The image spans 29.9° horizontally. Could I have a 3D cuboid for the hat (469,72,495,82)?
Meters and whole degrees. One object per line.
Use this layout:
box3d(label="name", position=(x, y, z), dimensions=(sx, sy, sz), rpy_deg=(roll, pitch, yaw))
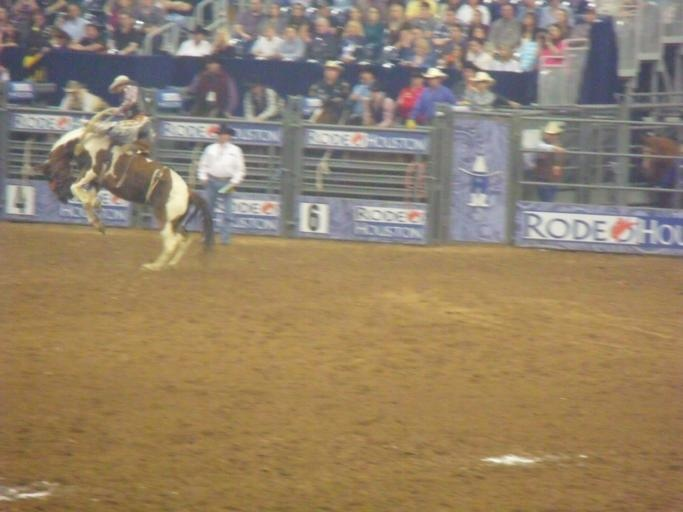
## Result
box3d(label="hat", position=(2.457, -3.108, 22.048), dimensions=(0.423, 0.185, 0.106), rpy_deg=(-1, 5, -31))

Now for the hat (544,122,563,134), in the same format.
box3d(label="hat", position=(3.560, -2.155, 21.293), dimensions=(0.341, 0.215, 0.154), rpy_deg=(1, 4, -12))

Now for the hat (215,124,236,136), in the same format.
box3d(label="hat", position=(-1.851, -2.010, 20.309), dimensions=(0.245, 0.093, 0.311), rpy_deg=(8, 7, -15))

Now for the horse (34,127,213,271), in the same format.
box3d(label="horse", position=(-3.179, -0.866, 19.024), dimensions=(3.193, 1.688, 0.892), rpy_deg=(16, 16, 24))
